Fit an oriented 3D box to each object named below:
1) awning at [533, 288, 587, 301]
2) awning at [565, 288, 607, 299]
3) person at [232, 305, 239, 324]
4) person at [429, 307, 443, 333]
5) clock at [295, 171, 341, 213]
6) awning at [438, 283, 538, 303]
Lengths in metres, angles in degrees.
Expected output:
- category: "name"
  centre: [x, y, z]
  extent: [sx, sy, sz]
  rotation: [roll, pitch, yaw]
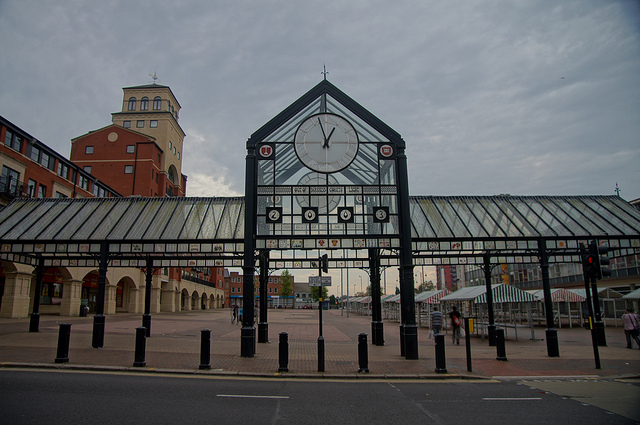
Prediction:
- category: "awning"
  centre: [20.059, 6.695, 41.697]
  extent: [2.469, 0.959, 0.532]
  rotation: [2, -15, -9]
- category: "awning"
  centre: [21.110, 6.356, 40.337]
  extent: [2.357, 0.477, 4.401]
  rotation: [-3, -6, 8]
- category: "person"
  centre: [-7.981, 9.554, 48.686]
  extent: [0.484, 1.799, 1.000]
  rotation: [8, 0, -40]
- category: "person"
  centre: [7.041, 6.423, 30.818]
  extent: [0.592, 1.575, 2.995]
  rotation: [-3, -15, 11]
- category: "clock"
  centre: [-0.021, -0.977, 26.534]
  extent: [2.295, 2.275, 0.081]
  rotation: [1, -2, 4]
- category: "awning"
  centre: [12.761, 5.857, 36.006]
  extent: [2.499, 0.883, 4.694]
  rotation: [1, -14, -10]
